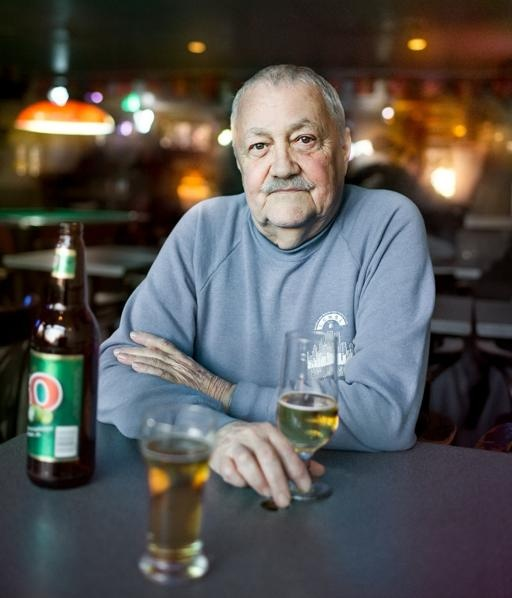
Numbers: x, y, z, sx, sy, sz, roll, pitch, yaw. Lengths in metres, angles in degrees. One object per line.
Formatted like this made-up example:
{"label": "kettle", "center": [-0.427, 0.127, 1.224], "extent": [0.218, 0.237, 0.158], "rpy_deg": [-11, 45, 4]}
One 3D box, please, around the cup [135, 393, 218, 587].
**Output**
{"label": "cup", "center": [-0.086, 0.201, 0.637], "extent": [0.079, 0.149, 0.142], "rpy_deg": [2, 9, -10]}

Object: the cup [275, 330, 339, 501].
{"label": "cup", "center": [0.072, 0.159, 0.806], "extent": [0.102, 0.202, 0.081], "rpy_deg": [3, -5, 8]}

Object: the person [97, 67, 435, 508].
{"label": "person", "center": [0.026, -0.063, 1.267], "extent": [0.712, 0.751, 0.620], "rpy_deg": [0, 11, 0]}
